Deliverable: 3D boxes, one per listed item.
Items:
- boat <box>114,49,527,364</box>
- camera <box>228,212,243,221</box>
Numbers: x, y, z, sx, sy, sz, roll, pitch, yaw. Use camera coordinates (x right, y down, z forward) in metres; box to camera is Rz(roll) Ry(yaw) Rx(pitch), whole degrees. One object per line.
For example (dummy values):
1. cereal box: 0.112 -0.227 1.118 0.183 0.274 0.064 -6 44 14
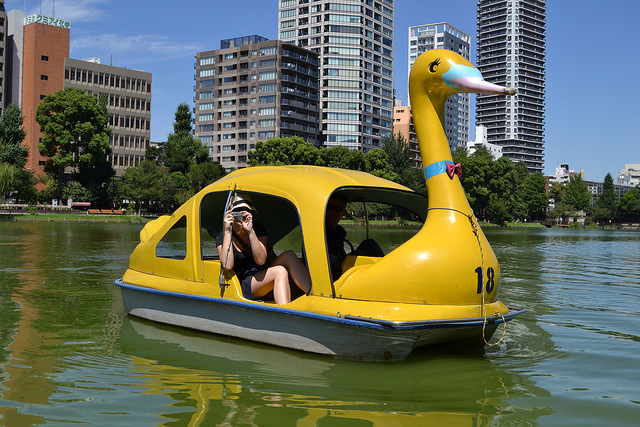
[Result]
1. boat: -0.185 -0.082 12.598 7.632 5.094 3.820 3 -1 32
2. camera: -1.384 0.052 11.034 0.260 0.137 0.058 2 4 35
